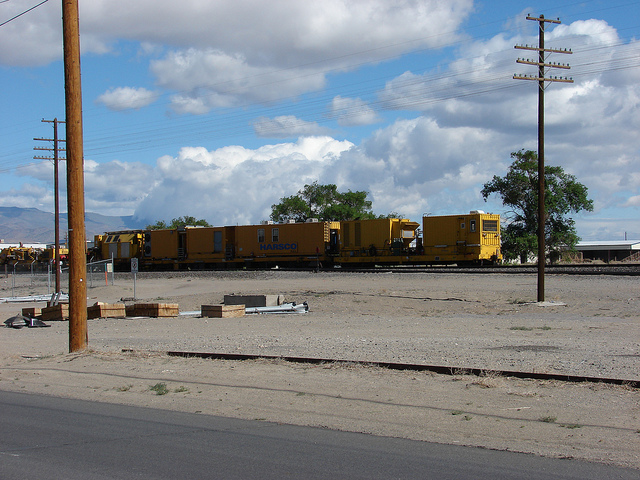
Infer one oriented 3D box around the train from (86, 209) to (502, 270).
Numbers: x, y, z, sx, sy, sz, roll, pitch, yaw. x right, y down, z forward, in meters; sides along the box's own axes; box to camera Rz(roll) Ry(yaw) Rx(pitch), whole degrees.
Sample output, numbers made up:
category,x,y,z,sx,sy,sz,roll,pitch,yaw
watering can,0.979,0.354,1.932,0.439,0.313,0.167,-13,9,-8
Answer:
category,x,y,z,sx,sy,sz,roll,pitch,yaw
train,-1.719,0.373,54.745,38.332,5.236,5.929,1,-1,28
